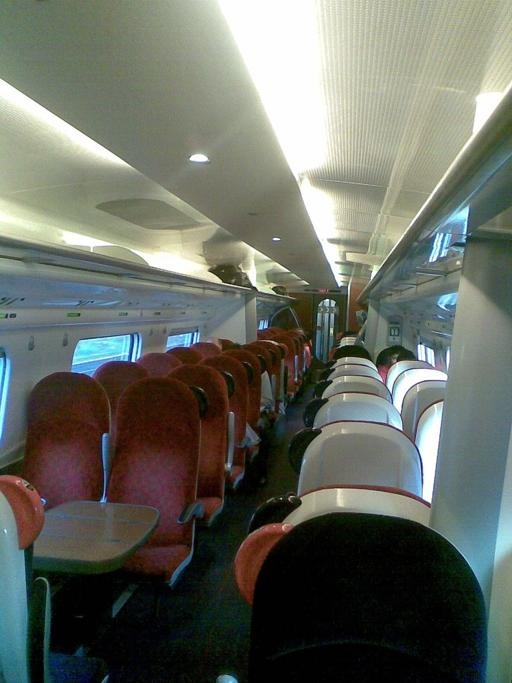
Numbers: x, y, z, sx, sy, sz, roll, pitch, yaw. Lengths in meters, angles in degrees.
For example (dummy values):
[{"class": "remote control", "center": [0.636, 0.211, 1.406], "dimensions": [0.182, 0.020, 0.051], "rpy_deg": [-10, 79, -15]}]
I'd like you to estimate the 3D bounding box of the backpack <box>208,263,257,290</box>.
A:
[{"class": "backpack", "center": [-0.388, -1.046, 7.552], "dimensions": [0.725, 0.303, 1.062], "rpy_deg": [-3, -4, 7]}]
